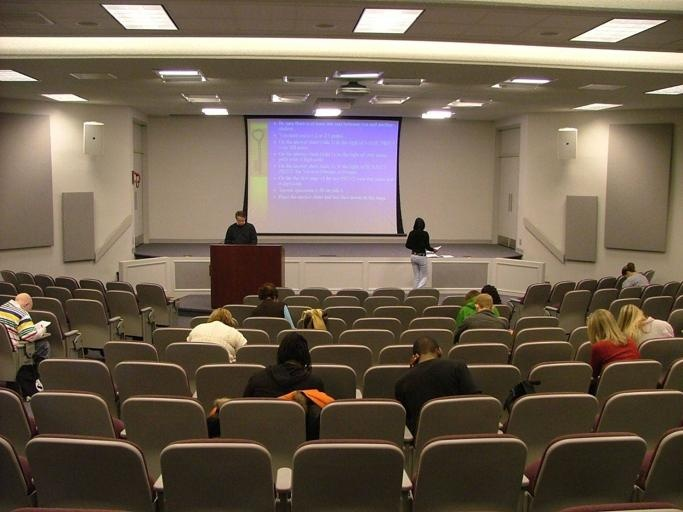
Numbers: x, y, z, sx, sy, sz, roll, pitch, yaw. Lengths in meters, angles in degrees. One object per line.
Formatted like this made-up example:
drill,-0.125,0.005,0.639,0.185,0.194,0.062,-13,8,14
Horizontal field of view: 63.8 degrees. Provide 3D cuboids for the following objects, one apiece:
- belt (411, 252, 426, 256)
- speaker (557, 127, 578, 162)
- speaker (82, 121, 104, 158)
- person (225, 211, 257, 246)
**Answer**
belt,1.634,-0.049,11.664,0.271,0.084,0.105,0,3,-11
speaker,5.361,-2.696,13.069,0.408,0.689,0.318,2,3,21
speaker,-5.614,-2.688,12.372,0.384,0.734,0.301,0,3,-17
person,-2.019,-0.546,11.008,0.656,1.098,0.636,-2,10,-10
